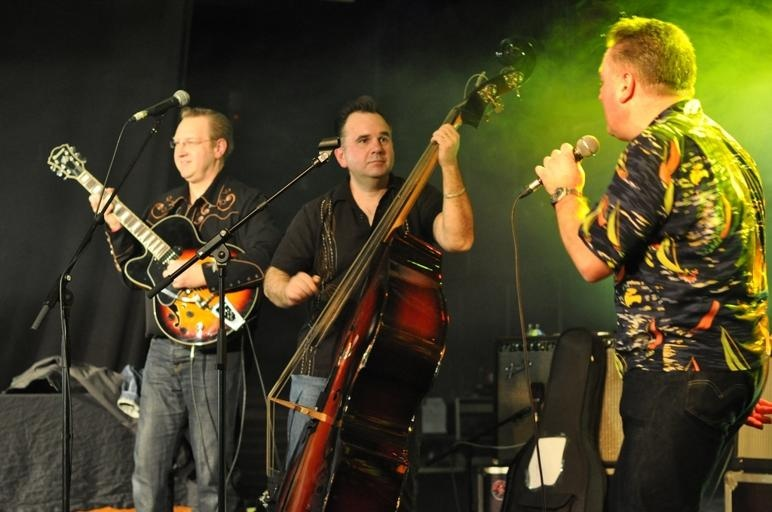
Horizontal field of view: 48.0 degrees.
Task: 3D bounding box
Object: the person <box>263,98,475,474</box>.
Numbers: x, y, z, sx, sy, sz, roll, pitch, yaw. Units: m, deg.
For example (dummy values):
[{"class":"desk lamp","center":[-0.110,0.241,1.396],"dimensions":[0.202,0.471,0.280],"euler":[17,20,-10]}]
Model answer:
[{"class":"person","center":[-0.037,0.155,5.154],"dimensions":[0.742,2.186,1.103],"euler":[29,-13,-18]}]
